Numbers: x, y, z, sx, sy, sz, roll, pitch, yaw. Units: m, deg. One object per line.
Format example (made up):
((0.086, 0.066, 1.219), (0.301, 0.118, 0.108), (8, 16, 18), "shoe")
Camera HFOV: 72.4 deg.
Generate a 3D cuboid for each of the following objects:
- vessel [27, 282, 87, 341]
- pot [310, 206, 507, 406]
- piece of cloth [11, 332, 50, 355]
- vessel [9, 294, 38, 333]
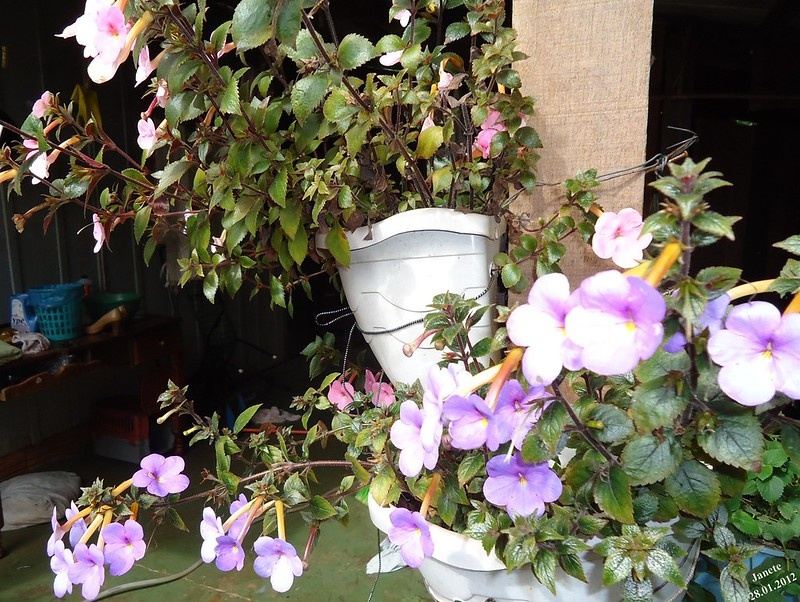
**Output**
((-1.764, 0.046, 2.832), (0.274, 0.284, 0.283), (1, 2, 6), "vessel")
((0.072, -0.026, 1.082), (0.322, 0.327, 0.290), (-7, 5, 29), "pot")
((-1.831, 0.210, 2.689), (0.118, 0.049, 0.119), (4, 16, -22), "piece of cloth")
((-1.967, 0.083, 2.844), (0.096, 0.140, 0.054), (2, 1, -26), "vessel")
